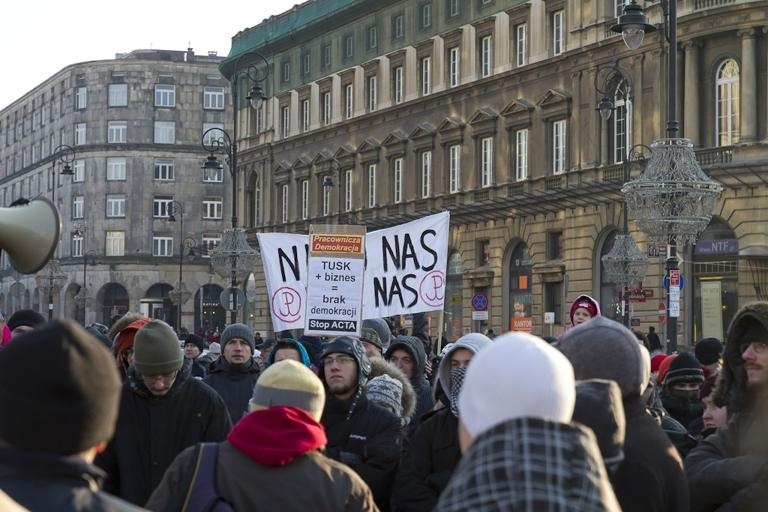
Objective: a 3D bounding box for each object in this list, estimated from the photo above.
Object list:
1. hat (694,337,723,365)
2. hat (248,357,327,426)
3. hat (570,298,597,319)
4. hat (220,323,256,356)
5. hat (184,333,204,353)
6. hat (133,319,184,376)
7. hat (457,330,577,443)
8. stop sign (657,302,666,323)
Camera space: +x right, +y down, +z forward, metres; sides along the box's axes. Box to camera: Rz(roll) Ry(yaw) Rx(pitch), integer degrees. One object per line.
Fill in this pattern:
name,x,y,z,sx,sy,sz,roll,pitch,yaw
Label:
hat,4.627,1.363,19.755,0.390,0.389,0.313,-2,-52,10
hat,-1.080,1.528,15.718,0.858,0.695,0.639,6,7,-8
hat,2.951,0.711,20.338,0.342,0.389,0.398,6,-12,18
hat,-2.162,1.219,20.358,0.420,0.350,0.458,1,-16,-6
hat,-3.363,1.505,24.125,0.286,0.283,0.367,8,-35,11
hat,-2.875,1.107,17.465,0.658,0.628,0.716,-7,13,-18
hat,1.340,1.293,14.077,0.864,0.965,1.180,3,-28,-33
stop sign,8.375,1.680,41.896,0.090,0.671,0.556,-7,13,-22
